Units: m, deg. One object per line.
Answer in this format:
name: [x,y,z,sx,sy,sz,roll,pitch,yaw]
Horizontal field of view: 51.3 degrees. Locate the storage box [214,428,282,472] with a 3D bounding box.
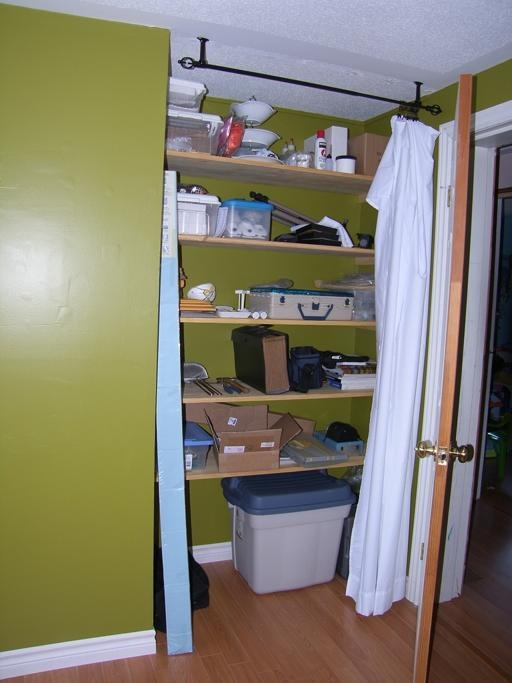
storage box: [-0.032,0.509,2.249,0.251,0.182,0.192,2,-17,-9]

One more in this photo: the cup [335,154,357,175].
cup: [0.398,-0.794,2.389,0.097,0.091,0.100,0,2,0]

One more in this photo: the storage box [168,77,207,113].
storage box: [-0.274,-0.951,2.087,0.140,0.101,0.152,0,6,-11]

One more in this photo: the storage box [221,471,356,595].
storage box: [0.137,0.908,2.570,0.626,0.461,0.440,1,0,-23]

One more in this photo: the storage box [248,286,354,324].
storage box: [0.209,-0.166,2.394,0.481,0.145,0.249,1,6,1]

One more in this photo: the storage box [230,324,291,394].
storage box: [0.025,0.079,2.500,0.182,0.274,0.383,-1,7,-20]

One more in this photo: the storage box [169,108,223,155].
storage box: [-0.248,-0.836,2.123,0.233,0.084,0.322,2,-1,-8]

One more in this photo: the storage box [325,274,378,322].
storage box: [0.454,-0.202,2.522,0.201,0.135,0.207,-1,4,-3]

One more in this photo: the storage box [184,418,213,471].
storage box: [-0.259,0.472,2.371,0.112,0.108,0.174,0,-2,-14]

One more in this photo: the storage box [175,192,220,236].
storage box: [-0.222,-0.519,2.216,0.235,0.168,0.168,12,10,33]

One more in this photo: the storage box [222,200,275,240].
storage box: [-0.016,-0.520,2.297,0.286,0.157,0.113,-4,8,-37]

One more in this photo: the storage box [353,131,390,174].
storage box: [0.513,-0.859,2.482,0.181,0.208,0.171,2,6,14]
